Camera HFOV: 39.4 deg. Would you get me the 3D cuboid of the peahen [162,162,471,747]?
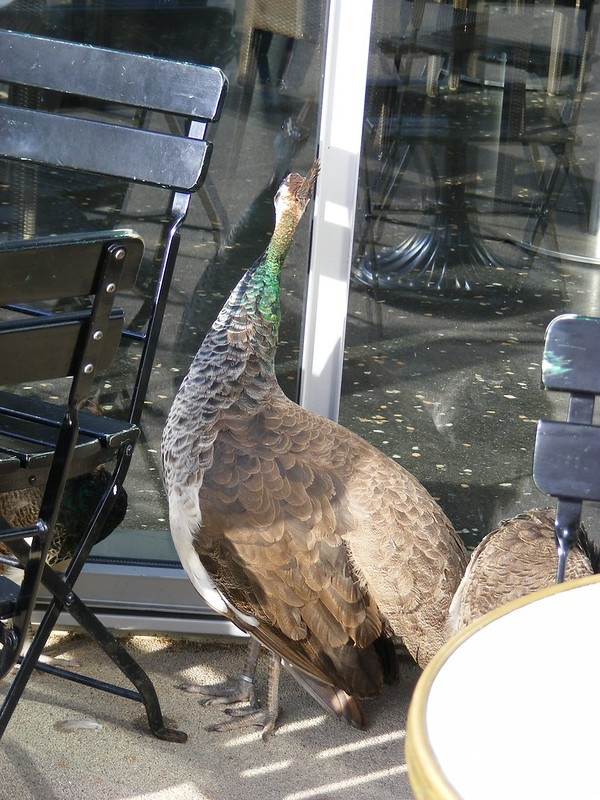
[{"bbox_3d":[0.009,0.061,1.484,0.462,0.889,0.540,-17,33,-34],"label":"peahen"}]
